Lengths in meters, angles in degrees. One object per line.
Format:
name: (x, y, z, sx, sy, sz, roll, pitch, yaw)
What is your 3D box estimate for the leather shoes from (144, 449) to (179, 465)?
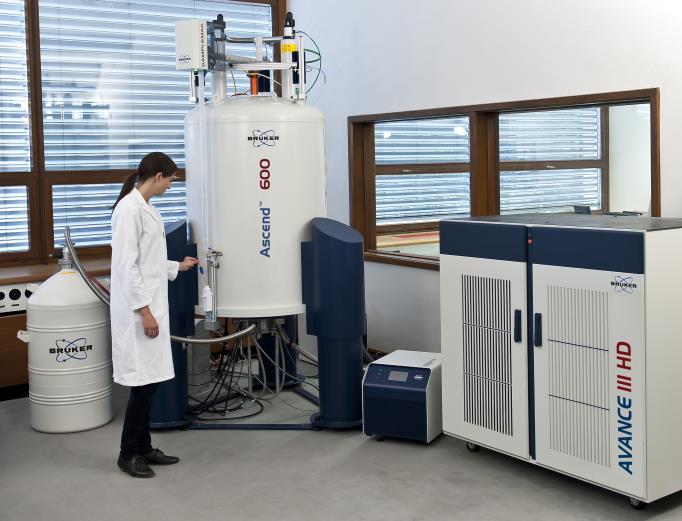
leather shoes: (-1.041, 1.143, 3.481, 0.222, 0.096, 0.078, 2, 4, -9)

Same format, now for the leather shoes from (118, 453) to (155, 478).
leather shoes: (-1.141, 1.136, 3.331, 0.224, 0.087, 0.089, 8, 12, 33)

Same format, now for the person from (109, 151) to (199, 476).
person: (-1.099, 0.289, 3.366, 0.366, 1.783, 0.430, -2, 8, -5)
